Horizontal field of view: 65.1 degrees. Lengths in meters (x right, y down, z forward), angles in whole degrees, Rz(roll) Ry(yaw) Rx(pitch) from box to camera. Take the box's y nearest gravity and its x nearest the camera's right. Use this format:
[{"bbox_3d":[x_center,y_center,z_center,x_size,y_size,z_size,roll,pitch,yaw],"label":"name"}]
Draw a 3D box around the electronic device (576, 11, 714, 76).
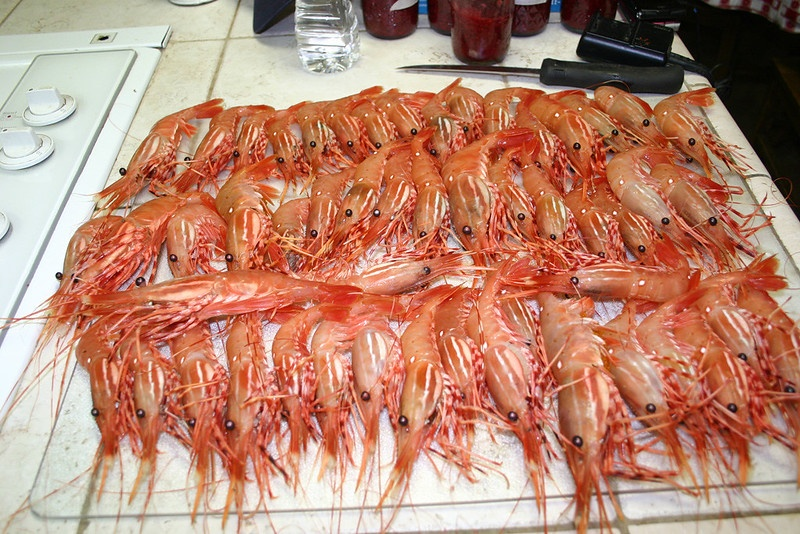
[{"bbox_3d":[0.812,-0.721,2.108,0.373,0.105,0.210,19,55,8],"label":"electronic device"}]
